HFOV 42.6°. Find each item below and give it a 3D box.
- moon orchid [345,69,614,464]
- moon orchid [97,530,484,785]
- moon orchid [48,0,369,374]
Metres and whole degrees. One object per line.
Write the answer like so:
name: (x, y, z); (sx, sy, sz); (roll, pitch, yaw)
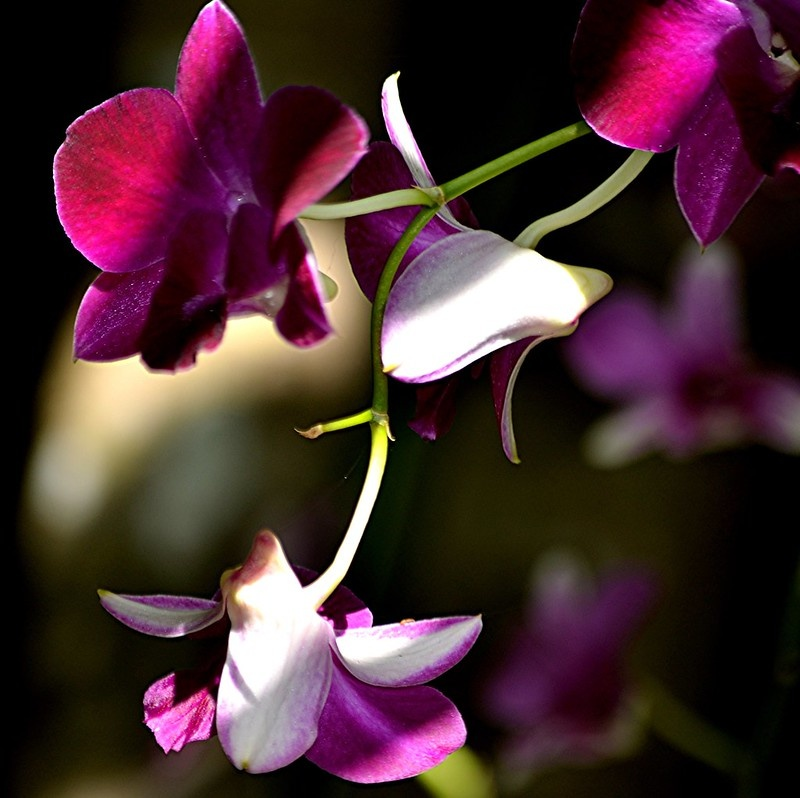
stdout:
moon orchid: (0.046, -0.072, 0.640); (0.150, 0.165, 0.249); (-20, 61, 3)
moon orchid: (-0.053, 0.136, 0.551); (0.187, 0.187, 0.110); (9, 90, -16)
moon orchid: (-0.089, -0.092, 0.484); (0.142, 0.067, 0.189); (0, 85, 17)
